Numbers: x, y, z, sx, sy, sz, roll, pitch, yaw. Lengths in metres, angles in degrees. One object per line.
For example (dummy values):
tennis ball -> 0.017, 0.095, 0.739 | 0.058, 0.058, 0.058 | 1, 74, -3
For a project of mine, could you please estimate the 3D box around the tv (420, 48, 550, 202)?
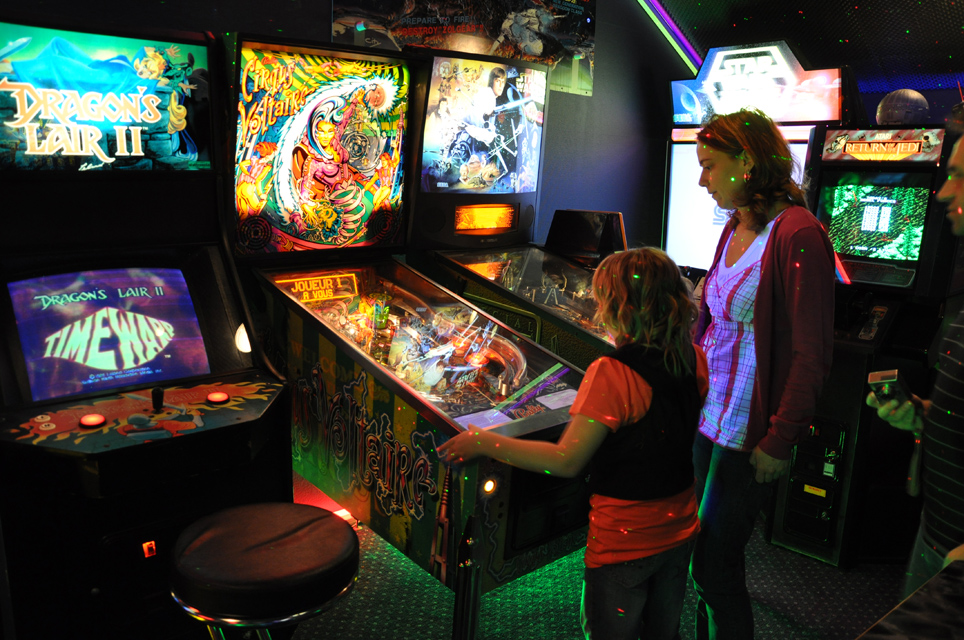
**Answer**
tv -> 0.000, -0.968, 3.452 | 0.933, 0.752, 0.122 | -3, 21, -38

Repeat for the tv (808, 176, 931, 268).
tv -> 2.041, -0.504, 3.547 | 0.562, 0.462, 0.186 | 16, 15, 41

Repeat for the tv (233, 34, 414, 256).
tv -> -0.725, -0.776, 3.047 | 1.029, 0.936, 0.195 | -9, 17, -37
